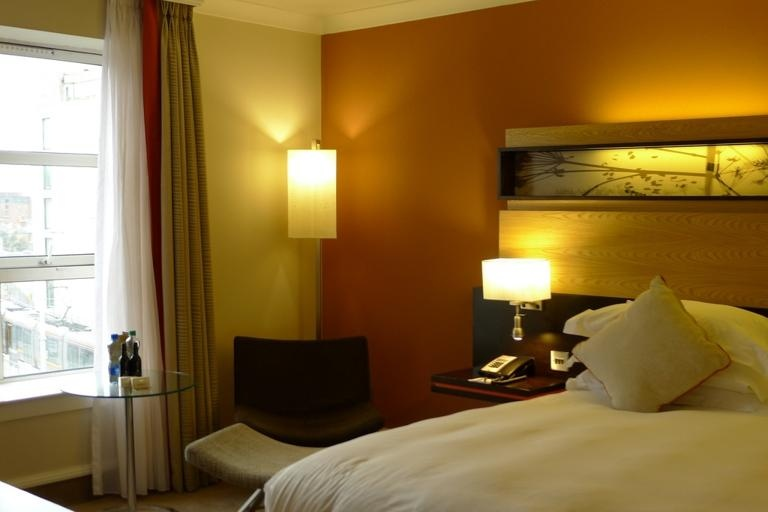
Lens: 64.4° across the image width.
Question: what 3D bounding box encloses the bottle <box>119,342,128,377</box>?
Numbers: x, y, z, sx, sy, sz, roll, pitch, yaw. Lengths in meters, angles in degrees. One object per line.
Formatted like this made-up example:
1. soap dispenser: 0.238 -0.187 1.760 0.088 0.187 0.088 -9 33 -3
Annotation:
1. bottle: -1.708 0.682 4.008 0.053 0.201 0.076 -5 7 -18

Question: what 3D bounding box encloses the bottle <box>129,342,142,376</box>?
1. bottle: -1.638 0.690 4.002 0.076 0.214 0.181 -5 8 -24

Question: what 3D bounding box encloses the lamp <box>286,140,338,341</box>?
1. lamp: -0.604 -0.029 5.362 0.422 1.894 0.517 9 13 27
